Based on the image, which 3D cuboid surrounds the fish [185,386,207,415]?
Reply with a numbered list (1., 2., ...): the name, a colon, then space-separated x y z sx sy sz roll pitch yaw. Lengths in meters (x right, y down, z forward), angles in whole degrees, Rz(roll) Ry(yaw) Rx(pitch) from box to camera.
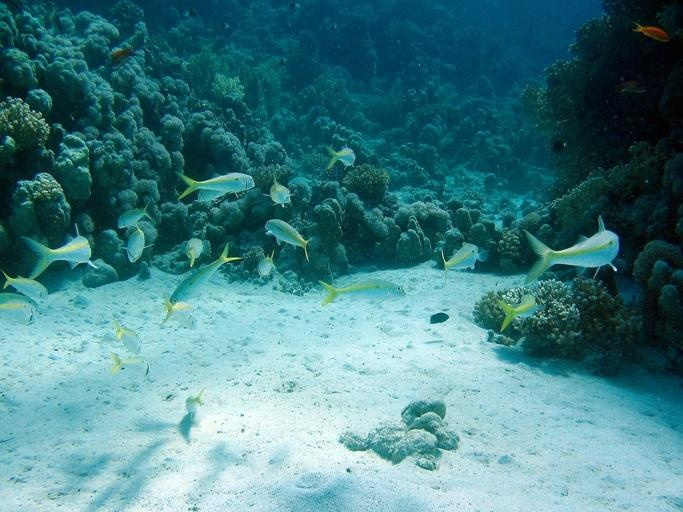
1. fish: -2.702 2.719 11.109 0.321 0.580 0.176 57 16 -9
